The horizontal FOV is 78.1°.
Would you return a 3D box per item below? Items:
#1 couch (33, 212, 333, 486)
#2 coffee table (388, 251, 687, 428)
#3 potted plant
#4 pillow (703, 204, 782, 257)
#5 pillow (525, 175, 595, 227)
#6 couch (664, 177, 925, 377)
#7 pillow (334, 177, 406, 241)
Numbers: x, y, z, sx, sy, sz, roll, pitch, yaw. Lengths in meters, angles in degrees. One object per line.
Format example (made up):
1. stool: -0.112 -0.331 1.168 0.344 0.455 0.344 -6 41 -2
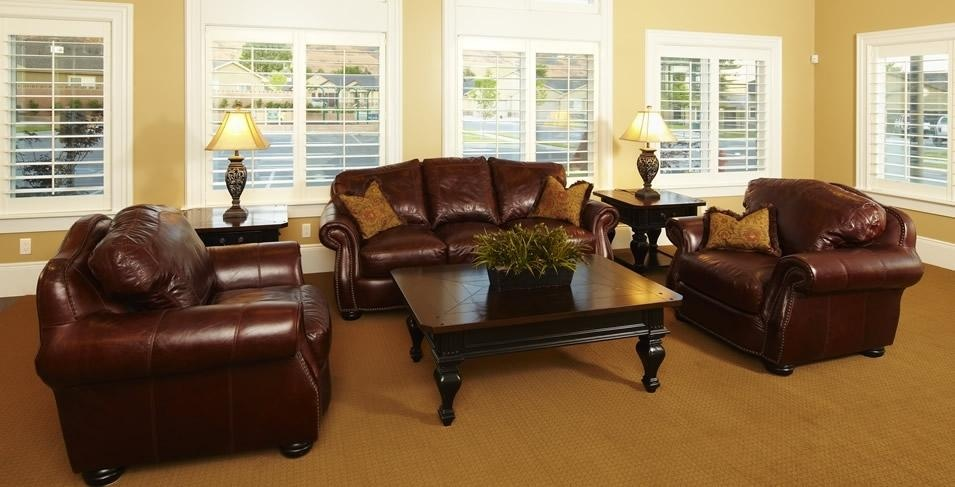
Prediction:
1. couch: -2.380 0.778 5.203 2.483 1.719 2.440 -1 15 -16
2. coffee table: 0.505 0.849 5.397 2.286 1.073 0.968 -4 14 -10
3. potted plant: 0.437 0.097 5.493 0.875 0.408 0.716 -2 8 -16
4. pillow: 2.700 -0.118 5.987 0.605 0.418 0.169 2 -29 24
5. pillow: 1.029 -0.500 6.969 0.641 0.579 0.197 15 -10 30
6. couch: 3.167 0.139 6.149 1.720 1.465 2.158 -9 16 -16
7. pillow: -1.195 -0.383 6.646 0.645 0.598 0.188 -30 0 -44
